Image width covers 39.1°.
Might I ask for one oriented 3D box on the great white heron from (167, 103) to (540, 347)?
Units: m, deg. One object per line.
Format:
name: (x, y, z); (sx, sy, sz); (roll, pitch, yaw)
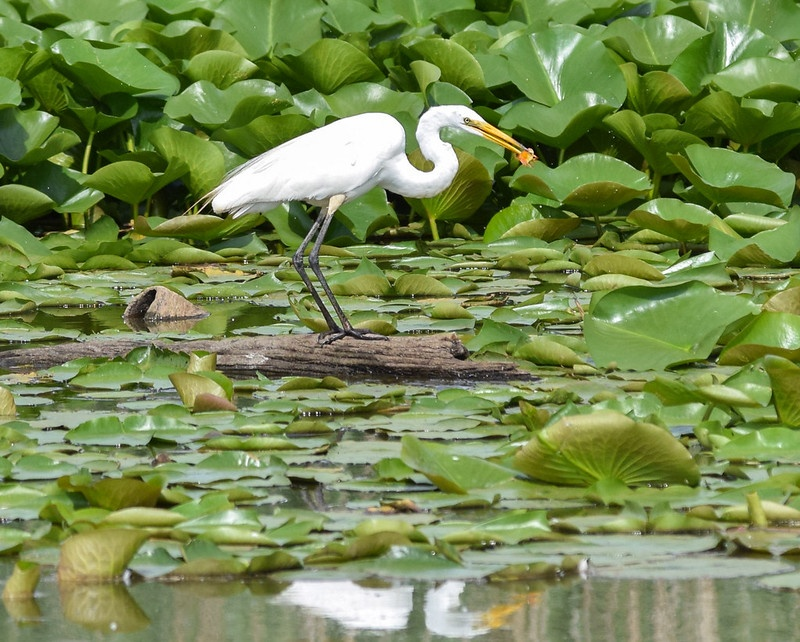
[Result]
great white heron: (-0.361, -0.546, 5.578); (1.181, 0.964, 1.336); (1, -1, 33)
